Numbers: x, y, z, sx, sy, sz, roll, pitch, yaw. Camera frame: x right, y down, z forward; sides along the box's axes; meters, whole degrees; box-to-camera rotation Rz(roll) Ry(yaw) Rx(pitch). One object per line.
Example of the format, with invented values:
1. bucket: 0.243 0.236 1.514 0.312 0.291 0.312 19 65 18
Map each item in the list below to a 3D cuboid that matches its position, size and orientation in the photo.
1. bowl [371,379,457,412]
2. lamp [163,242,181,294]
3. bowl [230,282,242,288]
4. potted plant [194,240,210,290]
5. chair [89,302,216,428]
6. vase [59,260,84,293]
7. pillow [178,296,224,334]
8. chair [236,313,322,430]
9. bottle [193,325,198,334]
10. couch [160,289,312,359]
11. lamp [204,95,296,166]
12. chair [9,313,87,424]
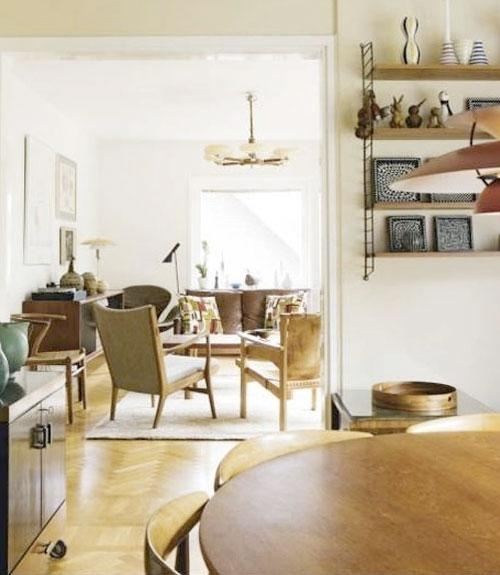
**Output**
1. bowl: 0.653 0.442 2.185 0.270 0.089 0.303 0 -1 -32
2. lamp: -0.950 -0.244 6.540 0.223 0.625 0.355 -1 -1 -1
3. bowl: -0.165 -0.013 6.738 0.129 0.075 0.302 -1 -1 0
4. potted plant: -0.574 -0.288 6.712 0.181 0.625 0.525 -1 -1 -6
5. chair: -0.634 0.505 3.646 0.588 0.817 0.744 3 4 35
6. vase: -1.453 -0.109 4.482 0.283 0.270 0.201 -2 -2 44
7. pillow: -0.569 0.252 5.719 0.485 0.149 0.517 1 19 -14
8. chair: 0.207 0.504 3.516 0.467 0.608 0.479 3 2 -37
9. bottle: -0.534 0.423 5.435 0.074 0.111 0.056 0 -7 -5
10. couch: -0.182 0.478 5.957 1.157 0.684 0.544 0 19 42
11. lamp: 0.022 -1.398 4.810 0.926 0.635 0.977 -1 5 4
12. chair: -1.320 0.529 3.597 0.467 0.682 0.456 -2 3 -22
